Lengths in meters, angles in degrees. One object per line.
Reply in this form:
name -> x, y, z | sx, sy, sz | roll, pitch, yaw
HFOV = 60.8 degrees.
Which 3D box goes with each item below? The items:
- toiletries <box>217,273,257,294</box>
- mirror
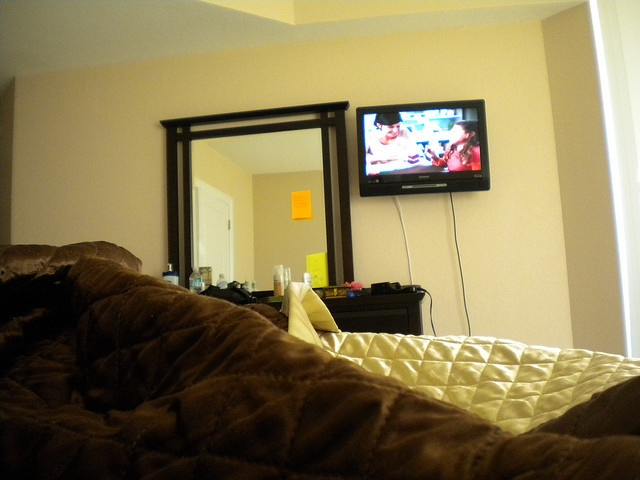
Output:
toiletries -> -0.504, 0.262, 3.235 | 0.173, 0.074, 0.103 | 9, 2, 10
mirror -> -0.330, -0.214, 3.259 | 1.113, 1.159, 0.109 | -4, -14, 7
